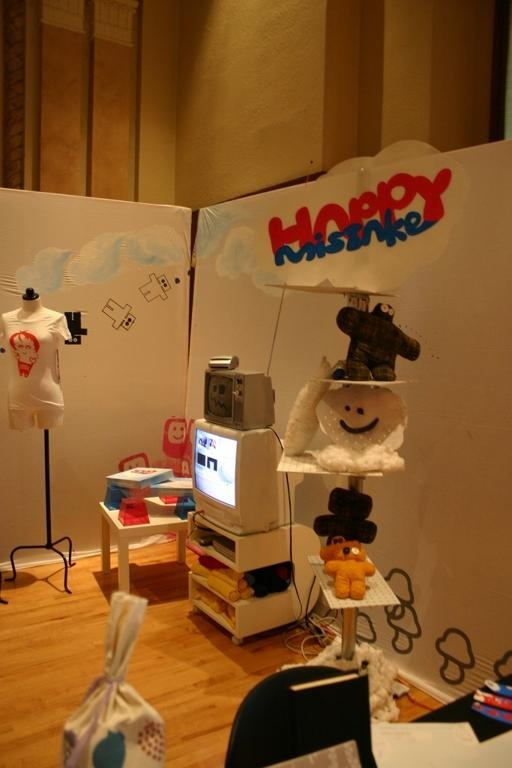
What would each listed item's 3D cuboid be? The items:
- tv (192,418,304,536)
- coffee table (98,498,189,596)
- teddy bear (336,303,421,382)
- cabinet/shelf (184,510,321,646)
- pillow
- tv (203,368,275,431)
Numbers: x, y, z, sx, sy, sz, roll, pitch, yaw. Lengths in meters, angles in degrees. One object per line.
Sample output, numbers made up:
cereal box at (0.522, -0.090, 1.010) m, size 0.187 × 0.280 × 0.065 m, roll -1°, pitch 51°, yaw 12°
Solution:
tv at (-0.036, 0.425, 2.992) m, size 0.382 × 0.645 × 0.562 m, roll -2°, pitch 4°, yaw -32°
coffee table at (-0.655, 0.850, 3.430) m, size 0.449 × 0.416 × 0.478 m, roll -1°, pitch 3°, yaw -31°
teddy bear at (0.408, -0.145, 2.089) m, size 0.253 × 0.260 × 0.332 m, roll 5°, pitch 7°, yaw 27°
cabinet/shelf at (-0.007, 0.933, 3.149) m, size 0.568 × 0.617 × 0.586 m, roll -1°, pitch 7°, yaw -30°
pillow at (0.190, 0.125, 2.244) m, size 0.159 × 0.277 × 0.151 m, roll 2°, pitch 6°, yaw 5°
tv at (-0.117, 0.071, 2.915) m, size 0.411 × 0.277 × 0.209 m, roll 8°, pitch 8°, yaw 40°
